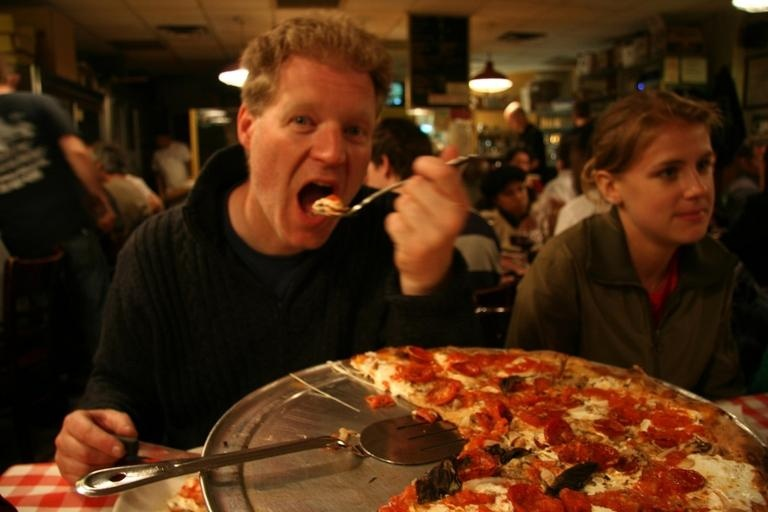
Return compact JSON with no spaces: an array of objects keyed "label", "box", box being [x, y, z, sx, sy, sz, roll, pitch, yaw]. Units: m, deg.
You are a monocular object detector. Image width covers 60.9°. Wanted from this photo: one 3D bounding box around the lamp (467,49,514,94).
[{"label":"lamp","box":[0.552,-0.937,3.357,0.198,0.187,0.198,0,-1,5]}]
